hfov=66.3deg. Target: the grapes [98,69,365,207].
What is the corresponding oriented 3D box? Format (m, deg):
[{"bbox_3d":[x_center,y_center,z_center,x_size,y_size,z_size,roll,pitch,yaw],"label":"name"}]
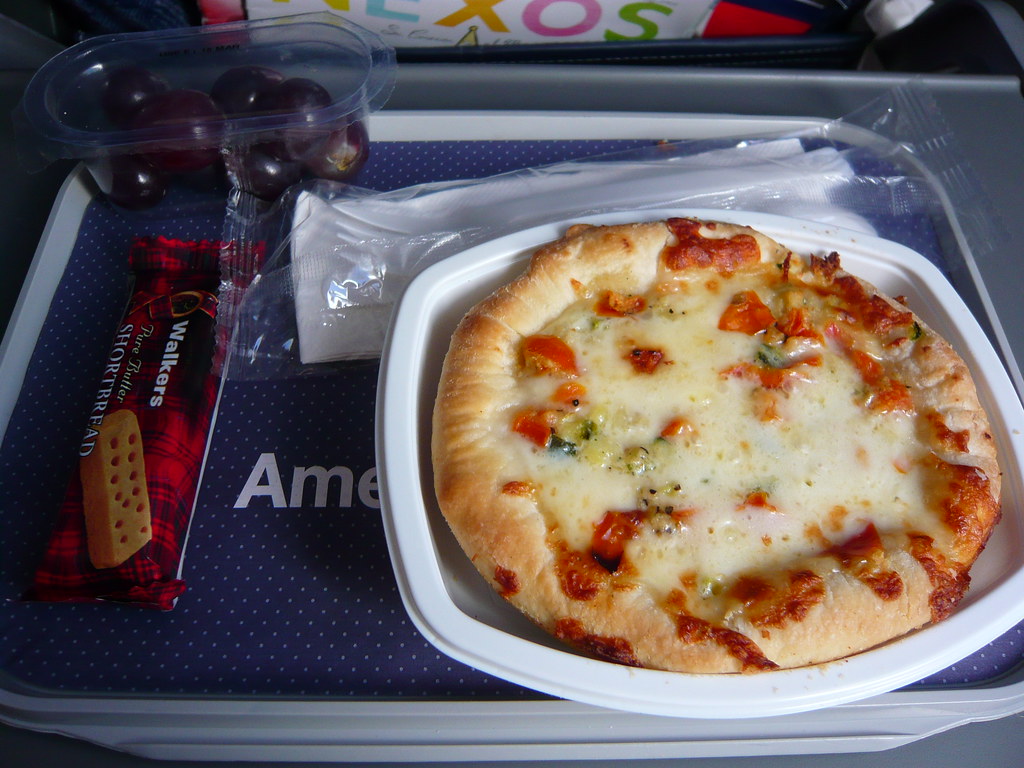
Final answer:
[{"bbox_3d":[-0.648,-0.576,1.770,0.618,0.223,0.270,-4,82,0],"label":"grapes"}]
